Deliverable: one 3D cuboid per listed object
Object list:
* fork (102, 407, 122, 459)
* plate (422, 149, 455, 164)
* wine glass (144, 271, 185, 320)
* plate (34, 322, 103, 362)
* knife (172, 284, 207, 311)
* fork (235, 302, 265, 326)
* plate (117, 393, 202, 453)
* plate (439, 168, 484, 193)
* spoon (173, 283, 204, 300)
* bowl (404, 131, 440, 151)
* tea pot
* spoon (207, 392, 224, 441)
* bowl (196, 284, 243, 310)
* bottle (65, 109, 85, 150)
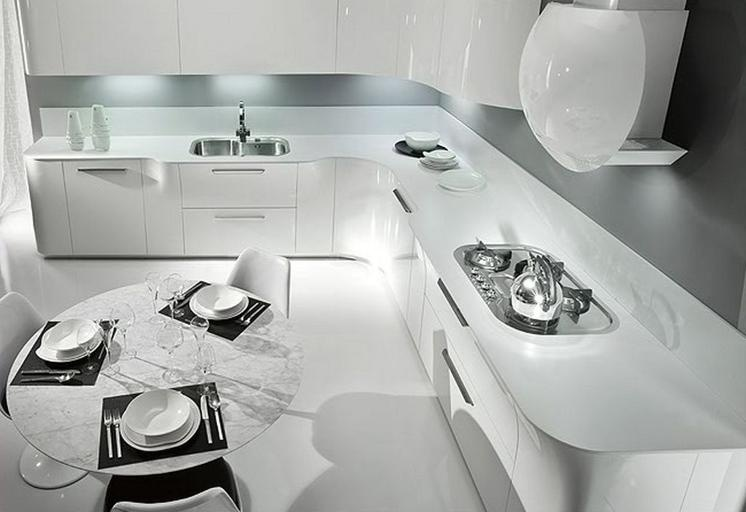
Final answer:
[{"bbox_3d":[-1.066,0.737,1.986,0.065,0.030,0.259,2,34,-22],"label":"fork"},{"bbox_3d":[0.589,-0.851,4.156,0.198,0.048,0.173,-5,42,-11],"label":"plate"},{"bbox_3d":[-1.127,0.226,2.620,0.125,0.210,0.138,25,38,20],"label":"wine glass"},{"bbox_3d":[-1.468,0.419,2.362,0.201,0.049,0.211,2,37,1],"label":"plate"},{"bbox_3d":[-1.041,0.226,2.737,0.052,0.019,0.275,9,27,8],"label":"knife"},{"bbox_3d":[-0.655,0.313,2.642,0.061,0.019,0.164,12,24,16],"label":"fork"},{"bbox_3d":[-0.888,0.683,2.032,0.312,0.135,0.247,-6,20,-25],"label":"plate"},{"bbox_3d":[0.700,-0.595,3.789,0.233,0.035,0.231,20,40,28],"label":"plate"},{"bbox_3d":[-1.037,0.194,2.767,0.049,0.012,0.154,10,25,12],"label":"spoon"},{"bbox_3d":[0.463,-1.070,4.467,0.228,0.130,0.251,0,30,0],"label":"bowl"},{"bbox_3d":[0.765,0.148,2.485,0.223,0.295,0.345,2,31,1],"label":"tea pot"},{"bbox_3d":[-0.670,0.687,2.095,0.051,0.035,0.287,7,30,-24],"label":"spoon"},{"bbox_3d":[-0.855,0.230,2.710,0.159,0.041,0.170,5,32,-3],"label":"bowl"},{"bbox_3d":[-2.595,-1.103,4.236,0.120,0.333,0.240,-8,20,-29],"label":"bottle"}]
